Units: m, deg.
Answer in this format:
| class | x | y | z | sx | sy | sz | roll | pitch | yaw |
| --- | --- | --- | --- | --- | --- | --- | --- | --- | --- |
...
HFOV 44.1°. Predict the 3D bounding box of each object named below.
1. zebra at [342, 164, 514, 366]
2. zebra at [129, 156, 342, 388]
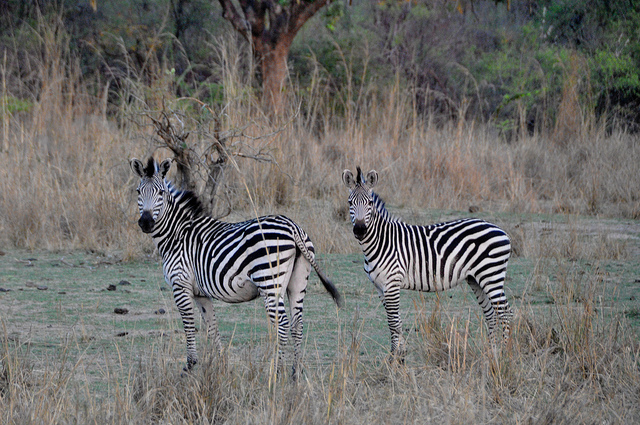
| class | x | y | z | sx | sy | sz | roll | pitch | yaw |
| --- | --- | --- | --- | --- | --- | --- | --- | --- | --- |
| zebra | 1.437 | 0.776 | 10.634 | 2.171 | 0.742 | 2.544 | 0 | 94 | -2 |
| zebra | -1.220 | 0.786 | 10.009 | 2.803 | 0.949 | 2.748 | 5 | 94 | 15 |
